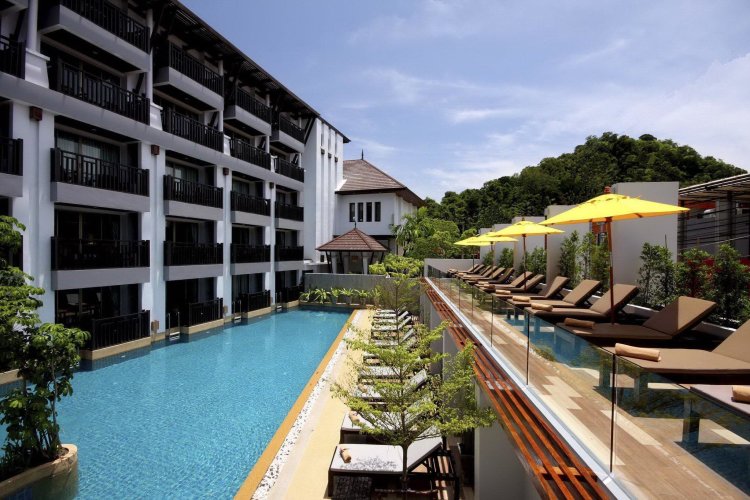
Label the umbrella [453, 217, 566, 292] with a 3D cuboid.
[{"bbox_3d":[5.877,0.067,21.515,2.767,1.920,2.794,2,2,34],"label":"umbrella"}]
